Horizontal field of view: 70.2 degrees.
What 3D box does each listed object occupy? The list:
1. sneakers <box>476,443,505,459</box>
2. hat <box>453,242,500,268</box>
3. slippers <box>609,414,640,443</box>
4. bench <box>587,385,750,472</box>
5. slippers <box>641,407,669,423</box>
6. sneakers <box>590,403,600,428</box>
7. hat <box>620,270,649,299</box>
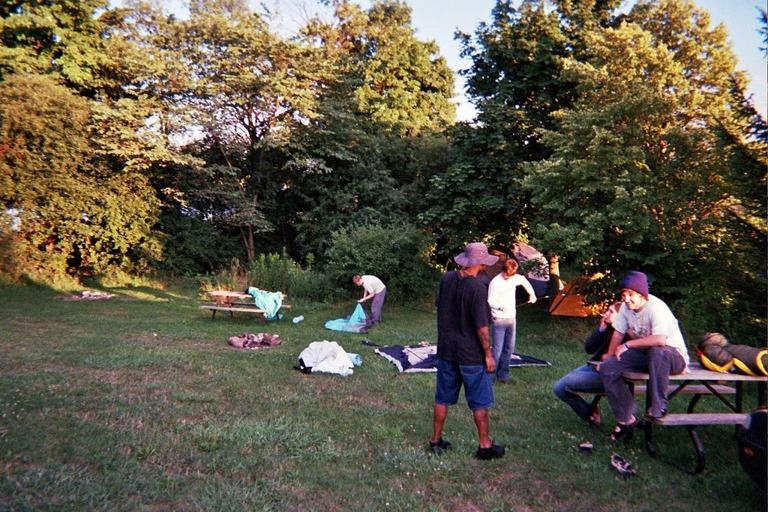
[{"bbox_3d":[1.995,3.674,10.200,0.462,0.213,0.234,-4,7,-11],"label":"sneakers"},{"bbox_3d":[1.822,0.007,10.382,0.585,0.225,0.554,-8,13,-43],"label":"hat"},{"bbox_3d":[4.728,3.360,10.481,0.290,0.356,0.737,40,-39,1],"label":"slippers"},{"bbox_3d":[6.081,3.116,11.006,2.021,0.993,2.007,0,-6,-5],"label":"bench"},{"bbox_3d":[5.085,2.984,10.231,0.419,0.306,0.280,4,-6,22],"label":"slippers"},{"bbox_3d":[4.367,3.295,11.233,0.238,0.384,0.176,13,-15,18],"label":"sneakers"},{"bbox_3d":[4.872,0.538,10.632,0.397,0.438,0.535,5,4,2],"label":"hat"}]
